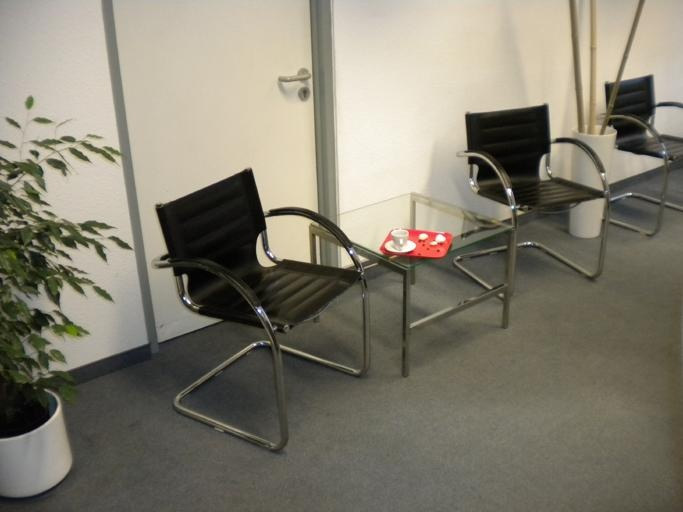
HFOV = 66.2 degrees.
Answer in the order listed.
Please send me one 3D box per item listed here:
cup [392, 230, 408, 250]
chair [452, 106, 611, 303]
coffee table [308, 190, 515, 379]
[{"bbox_3d":[0.330,-0.094,2.865,0.079,0.075,0.100,-1,24,1],"label":"cup"},{"bbox_3d":[1.293,-0.339,3.582,0.838,1.350,0.852,-16,28,-26],"label":"chair"},{"bbox_3d":[0.350,0.234,3.211,0.943,0.822,1.038,-24,37,-33],"label":"coffee table"}]
